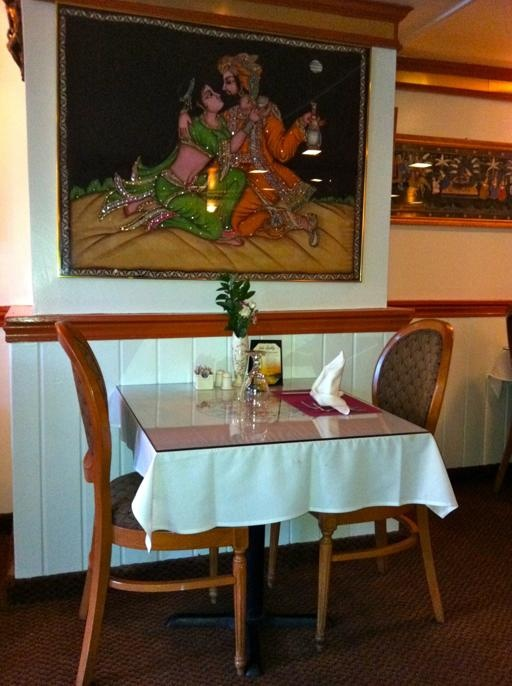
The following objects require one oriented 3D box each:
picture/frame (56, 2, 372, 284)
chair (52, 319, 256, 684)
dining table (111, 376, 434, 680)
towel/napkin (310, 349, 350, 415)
[{"bbox_3d":[-0.216,-0.839,2.323,1.223,0.877,0.019,-2,8,-22],"label":"picture/frame"},{"bbox_3d":[-0.310,0.476,1.807,0.576,1.078,0.566,0,2,-9],"label":"chair"},{"bbox_3d":[-0.045,0.493,1.892,0.890,0.694,0.881,-1,10,-15],"label":"dining table"},{"bbox_3d":[0.253,0.125,1.990,0.114,0.206,0.171,7,16,-12],"label":"towel/napkin"}]
